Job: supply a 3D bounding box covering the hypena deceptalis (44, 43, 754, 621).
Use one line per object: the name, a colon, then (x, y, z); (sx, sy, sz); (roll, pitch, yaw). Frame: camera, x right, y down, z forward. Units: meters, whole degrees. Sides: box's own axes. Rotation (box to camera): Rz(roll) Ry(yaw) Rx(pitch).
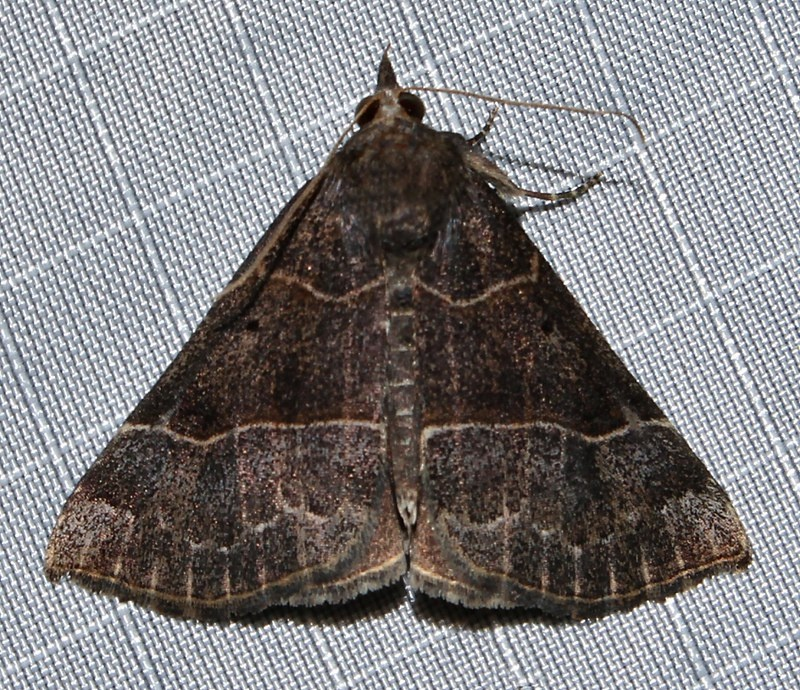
hypena deceptalis: (-0.006, 0.084, 2.643); (1.350, 0.352, 0.889); (-1, 67, 1)
